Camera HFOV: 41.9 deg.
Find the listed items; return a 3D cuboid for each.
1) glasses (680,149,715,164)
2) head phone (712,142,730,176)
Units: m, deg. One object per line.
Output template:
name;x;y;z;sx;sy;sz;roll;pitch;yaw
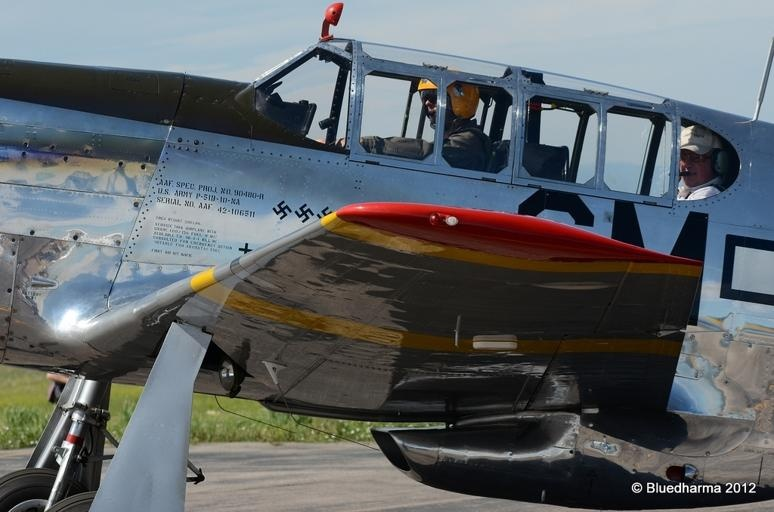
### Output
glasses;2.939;-0.927;9.577;0.276;0.057;0.172;7;-6;-35
head phone;3.180;-0.911;9.612;0.117;0.224;0.208;-5;-1;22
